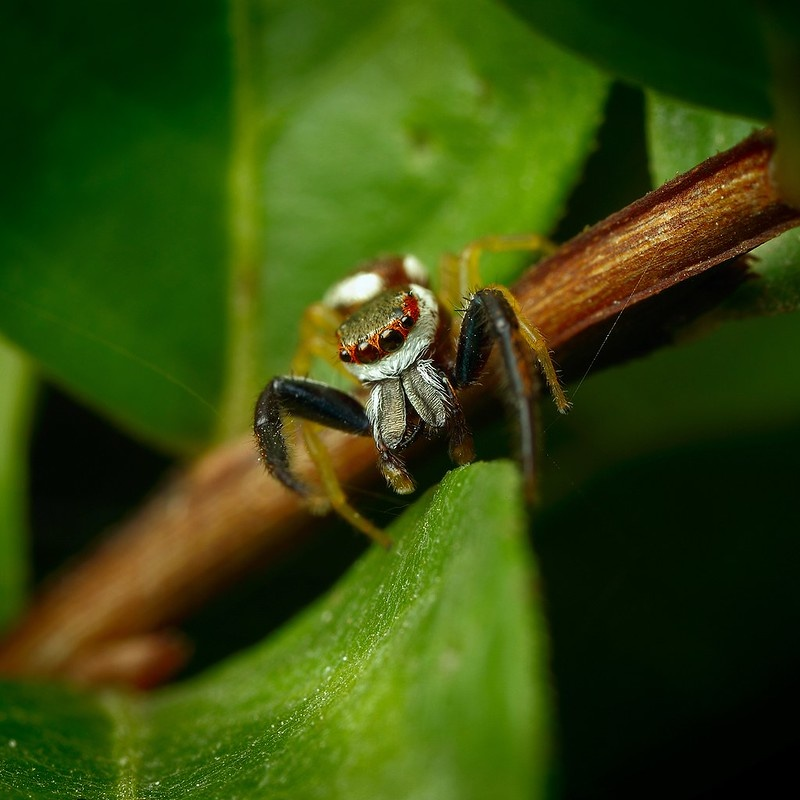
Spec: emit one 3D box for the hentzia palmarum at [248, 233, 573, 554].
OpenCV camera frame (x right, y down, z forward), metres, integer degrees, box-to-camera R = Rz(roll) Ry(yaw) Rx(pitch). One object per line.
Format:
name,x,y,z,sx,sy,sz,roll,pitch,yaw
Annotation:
hentzia palmarum,0.007,-0.041,1.160,0.321,0.141,0.425,-26,22,10
